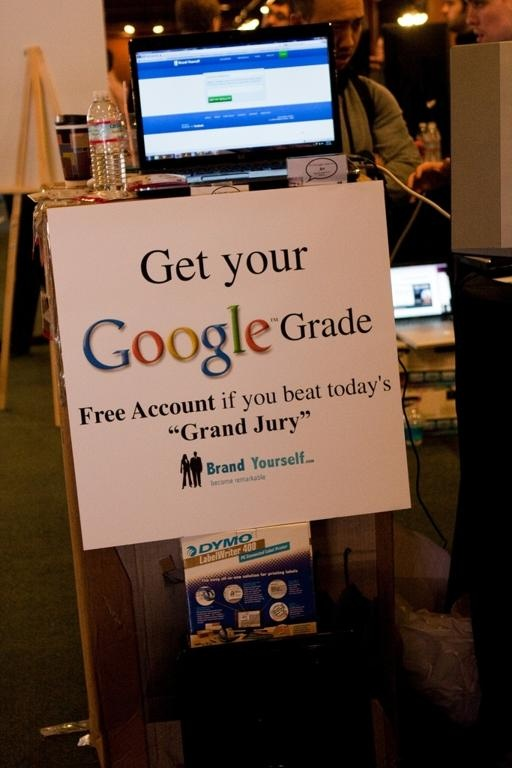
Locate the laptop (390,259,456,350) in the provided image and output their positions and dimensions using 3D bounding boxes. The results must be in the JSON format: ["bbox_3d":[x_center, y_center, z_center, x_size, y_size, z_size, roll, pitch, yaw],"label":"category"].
[{"bbox_3d":[0.723,-0.342,2.864,0.390,0.316,0.439,-3,15,-2],"label":"laptop"}]
